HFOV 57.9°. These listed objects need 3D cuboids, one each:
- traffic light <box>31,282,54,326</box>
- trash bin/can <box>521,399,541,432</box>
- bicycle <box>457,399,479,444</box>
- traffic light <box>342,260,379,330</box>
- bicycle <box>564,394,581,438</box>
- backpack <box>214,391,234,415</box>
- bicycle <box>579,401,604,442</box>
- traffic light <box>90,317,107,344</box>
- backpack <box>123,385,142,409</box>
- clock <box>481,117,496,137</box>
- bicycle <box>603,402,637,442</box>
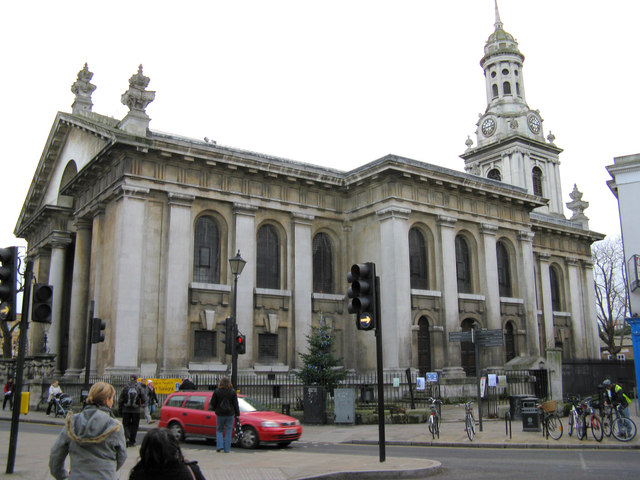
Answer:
[{"bbox_3d":[-5.756,1.280,12.034,0.380,0.837,0.532,8,-17,-28],"label":"traffic light"},{"bbox_3d":[7.576,6.306,20.973,0.639,1.173,0.609,-6,-16,19],"label":"trash bin/can"},{"bbox_3d":[4.950,5.931,19.388,0.601,0.887,1.434,-15,3,18],"label":"bicycle"},{"bbox_3d":[0.977,1.258,13.587,0.702,1.596,0.825,-2,-15,5],"label":"traffic light"},{"bbox_3d":[8.675,6.054,19.885,0.436,1.320,3.360,-6,-18,21],"label":"bicycle"},{"bbox_3d":[-2.531,4.281,15.266,0.450,0.474,0.270,3,-24,-10],"label":"backpack"},{"bbox_3d":[8.715,5.851,18.856,0.580,1.058,1.710,0,-12,1],"label":"bicycle"},{"bbox_3d":[-10.060,4.096,26.216,0.603,1.107,1.251,4,-17,-15],"label":"traffic light"},{"bbox_3d":[-5.500,4.598,16.927,0.398,0.646,0.590,7,-8,3],"label":"backpack"},{"bbox_3d":[19.606,-13.250,67.580,0.157,2.492,1.925,8,-18,-23],"label":"clock"},{"bbox_3d":[9.597,5.915,18.777,0.837,1.057,2.542,-7,-18,23],"label":"bicycle"}]
